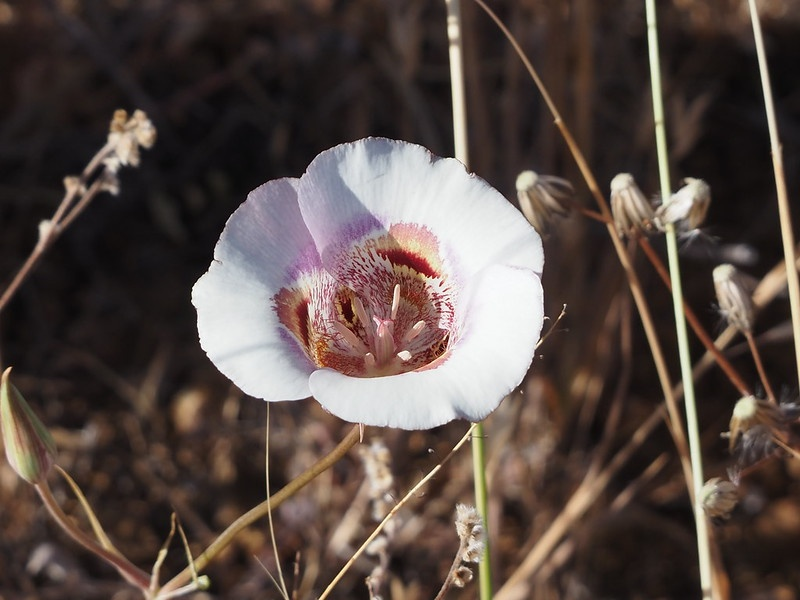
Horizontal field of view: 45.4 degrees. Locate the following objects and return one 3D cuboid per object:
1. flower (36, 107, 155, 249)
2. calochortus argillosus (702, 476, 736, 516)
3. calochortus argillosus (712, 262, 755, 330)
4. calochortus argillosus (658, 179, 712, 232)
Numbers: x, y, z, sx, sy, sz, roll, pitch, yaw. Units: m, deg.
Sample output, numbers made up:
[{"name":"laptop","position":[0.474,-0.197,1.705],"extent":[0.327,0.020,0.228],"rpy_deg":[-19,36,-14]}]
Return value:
[{"name":"flower","position":[-1.273,-0.484,3.968],"extent":[0.232,0.122,0.723],"rpy_deg":[37,96,-6]},{"name":"calochortus argillosus","position":[1.068,0.655,3.189],"extent":[0.105,0.042,0.119],"rpy_deg":[-12,92,2]},{"name":"calochortus argillosus","position":[1.110,-0.006,3.243],"extent":[0.126,0.074,0.225],"rpy_deg":[-12,86,-16]},{"name":"calochortus argillosus","position":[0.945,-0.322,3.213],"extent":[0.159,0.100,0.170],"rpy_deg":[9,78,-2]}]
